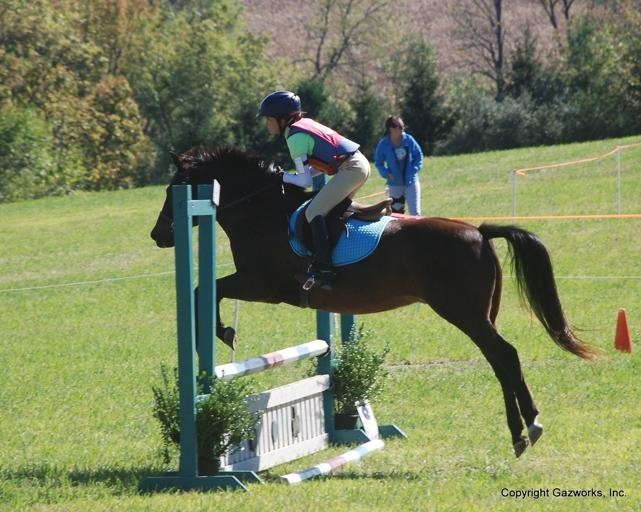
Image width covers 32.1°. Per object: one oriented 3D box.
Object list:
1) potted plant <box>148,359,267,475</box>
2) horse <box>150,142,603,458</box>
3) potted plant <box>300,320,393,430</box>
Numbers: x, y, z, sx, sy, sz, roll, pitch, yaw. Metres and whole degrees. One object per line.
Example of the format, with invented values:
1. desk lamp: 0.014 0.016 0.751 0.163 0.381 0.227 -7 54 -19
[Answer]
1. potted plant: -2.225 3.200 22.146 1.608 2.380 2.053 1 9 10
2. horse: 0.849 0.881 22.577 8.651 5.826 2.058 2 10 14
3. potted plant: 1.084 2.515 23.039 1.872 2.824 1.745 2 -2 -40
